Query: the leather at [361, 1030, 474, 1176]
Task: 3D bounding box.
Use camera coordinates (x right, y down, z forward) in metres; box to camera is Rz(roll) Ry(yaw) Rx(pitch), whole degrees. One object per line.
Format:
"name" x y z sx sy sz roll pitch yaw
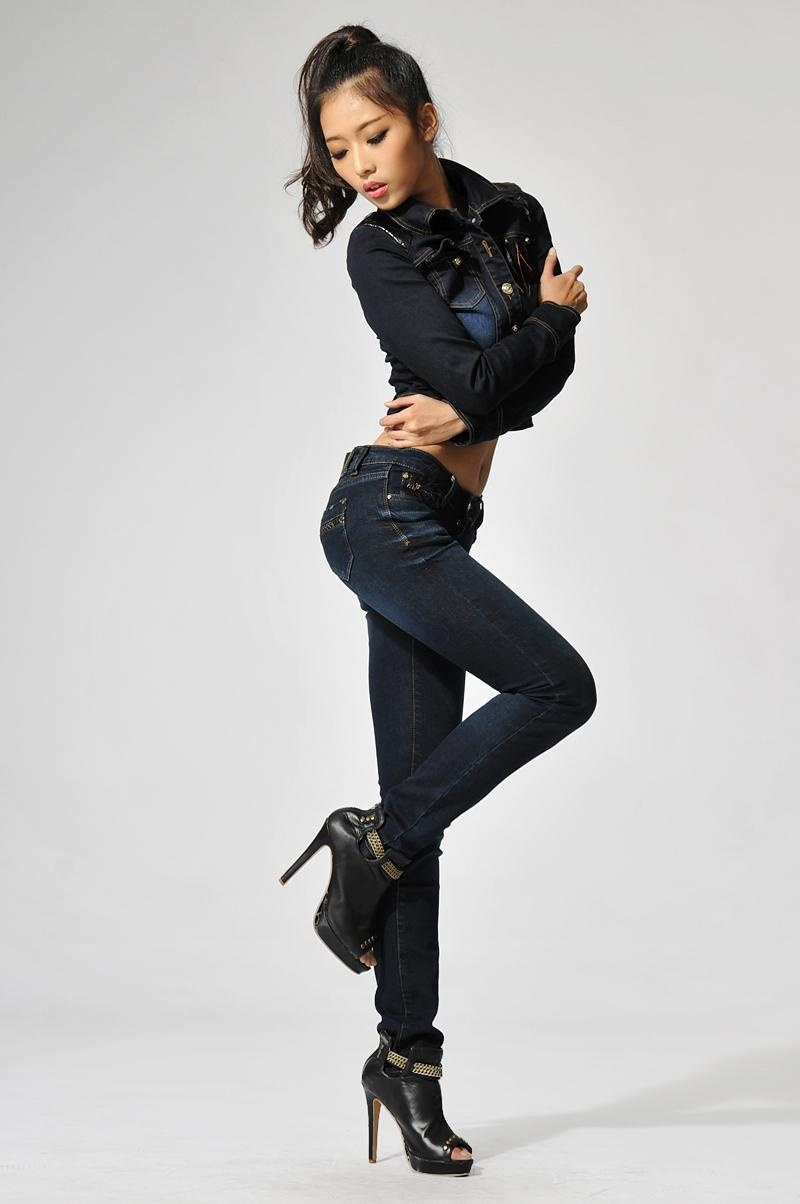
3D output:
"leather" 0.037 0.810 1.933 0.227 0.199 0.083 -8 -22 37

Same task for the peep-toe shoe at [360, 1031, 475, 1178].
"peep-toe shoe" 0.035 0.812 1.928 0.235 0.195 0.079 -12 -26 39

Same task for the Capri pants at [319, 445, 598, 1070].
"Capri pants" 0.040 0.204 1.912 0.363 0.873 0.522 8 -32 -18
